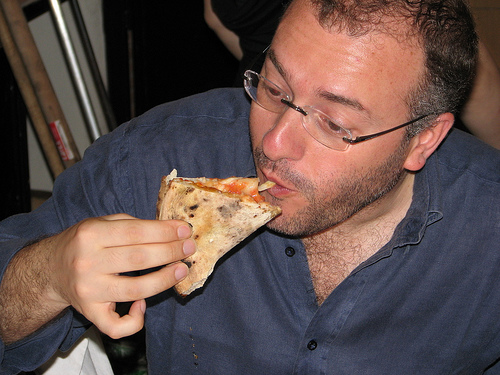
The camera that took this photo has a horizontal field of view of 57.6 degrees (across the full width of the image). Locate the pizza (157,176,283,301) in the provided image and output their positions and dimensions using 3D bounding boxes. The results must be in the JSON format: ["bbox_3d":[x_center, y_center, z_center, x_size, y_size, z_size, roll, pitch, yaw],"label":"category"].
[{"bbox_3d":[-0.292,0.225,2.255,0.625,0.734,0.225,27,39,-34],"label":"pizza"}]
